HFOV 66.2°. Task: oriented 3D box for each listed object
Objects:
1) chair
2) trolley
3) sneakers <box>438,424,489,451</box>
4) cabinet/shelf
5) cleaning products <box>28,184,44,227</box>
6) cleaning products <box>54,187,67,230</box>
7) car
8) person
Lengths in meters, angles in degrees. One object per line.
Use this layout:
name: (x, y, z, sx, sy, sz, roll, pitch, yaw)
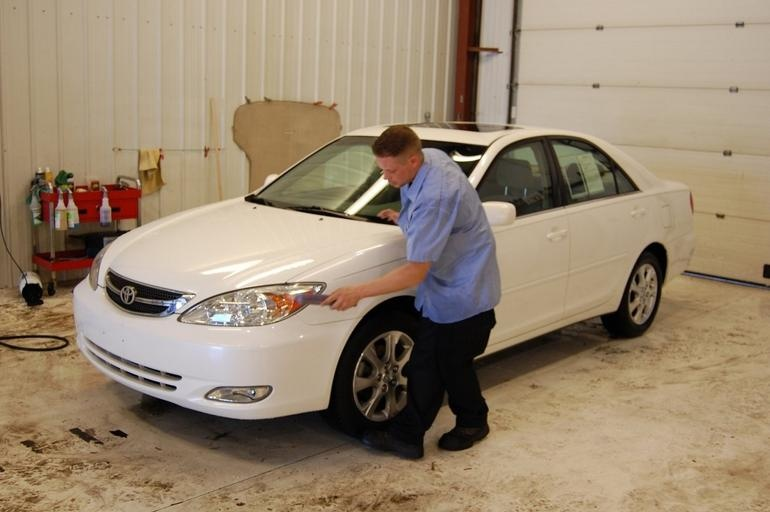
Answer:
chair: (1.285, -0.638, 4.931, 1.023, 0.583, 0.283, -20, 11, -36)
trolley: (-3.374, -0.319, 6.718, 1.003, 1.170, 0.673, -7, 15, -43)
sneakers: (0.540, 1.211, 4.061, 0.312, 0.128, 0.145, -8, 9, -34)
cabinet/shelf: (-3.347, -0.315, 6.744, 0.999, 1.179, 0.651, -8, 14, -39)
cleaning products: (-3.794, -0.561, 6.412, 0.127, 0.424, 0.150, -12, 18, -37)
cleaning products: (-3.464, -0.498, 6.277, 0.142, 0.414, 0.221, -9, 16, -28)
car: (0.487, -0.018, 5.118, 5.269, 1.808, 2.166, -9, 14, -37)
person: (0.288, 0.276, 3.752, 0.930, 2.165, 0.402, -2, 14, -3)
